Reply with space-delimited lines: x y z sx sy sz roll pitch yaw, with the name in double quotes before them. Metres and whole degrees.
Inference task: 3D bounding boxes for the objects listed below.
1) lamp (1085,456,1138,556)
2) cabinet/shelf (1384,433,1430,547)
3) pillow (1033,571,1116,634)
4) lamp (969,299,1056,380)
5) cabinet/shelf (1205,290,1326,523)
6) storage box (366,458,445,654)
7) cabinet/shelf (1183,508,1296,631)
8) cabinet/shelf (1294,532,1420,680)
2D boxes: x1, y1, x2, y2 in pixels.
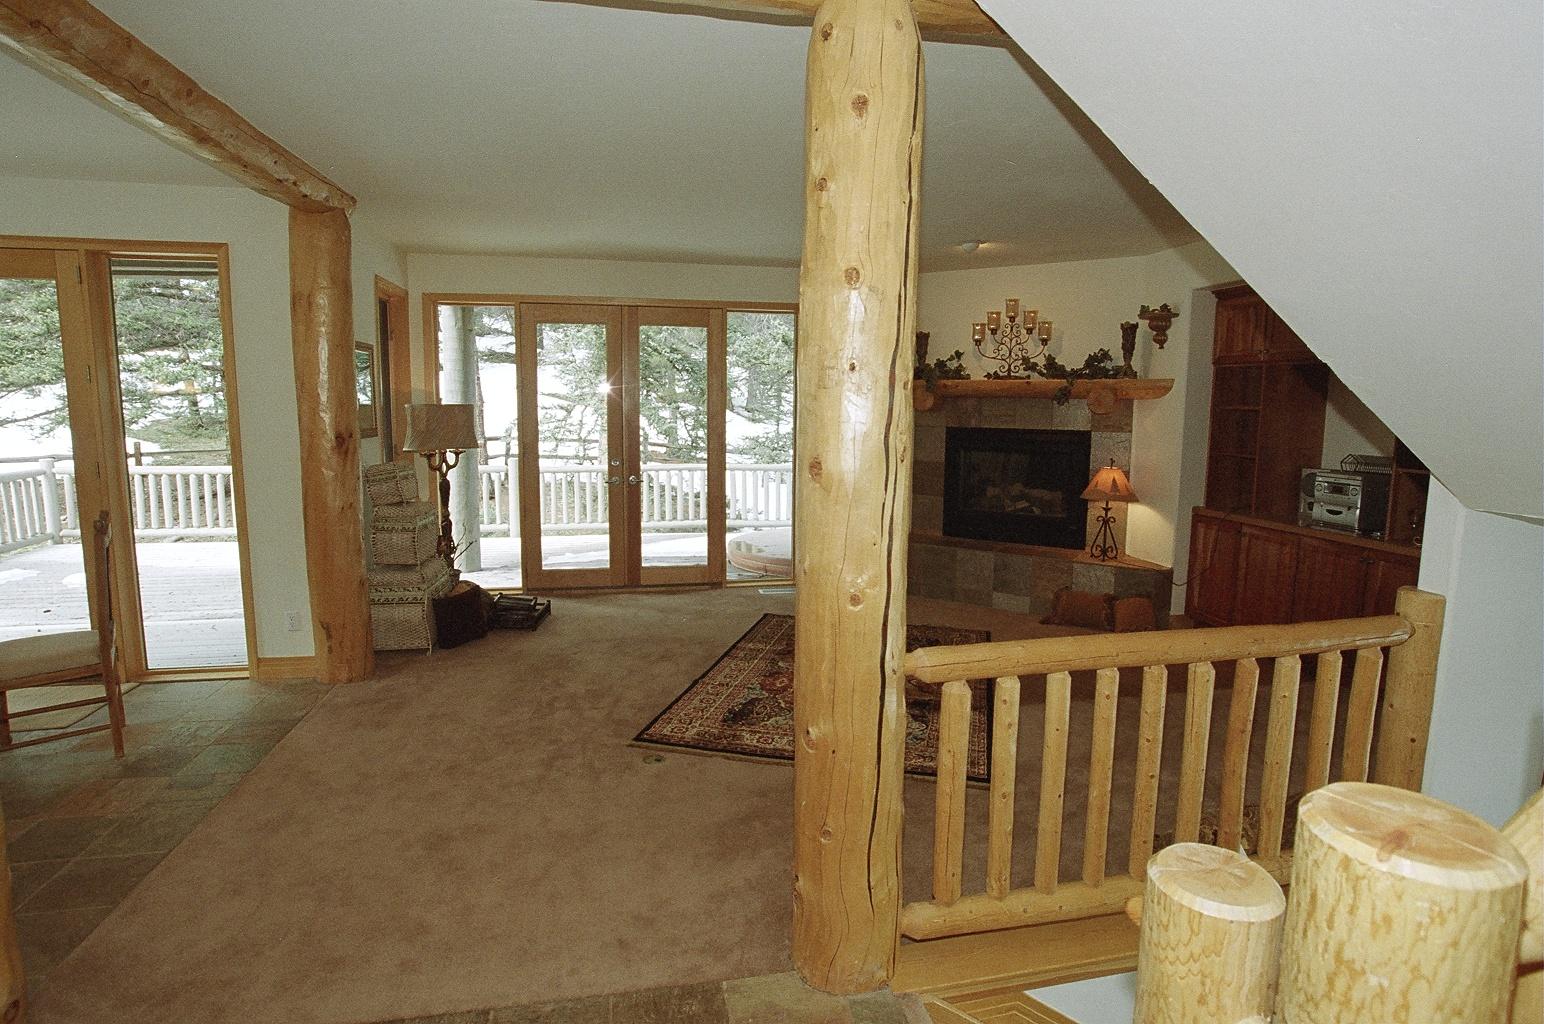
"lamp" 2.479 -0.005 7.777 0.348 0.712 0.727 1 7 17
"cabinet/shelf" 3.723 -0.117 6.198 0.179 0.602 0.419 3 9 30
"pillow" 1.948 0.595 6.686 0.510 0.396 0.456 10 7 6
"lamp" 1.887 -1.347 8.182 0.795 0.841 0.192 1 5 27
"cabinet/shelf" 3.350 -0.746 7.210 0.768 1.574 0.609 3 9 30
"storage box" -2.411 0.296 6.960 0.471 1.217 0.737 -3 8 -14
"cabinet/shelf" 3.140 0.376 7.043 0.311 0.663 0.751 0 14 -9
"cabinet/shelf" 3.477 0.560 6.393 0.264 0.843 0.758 -4 8 -19
